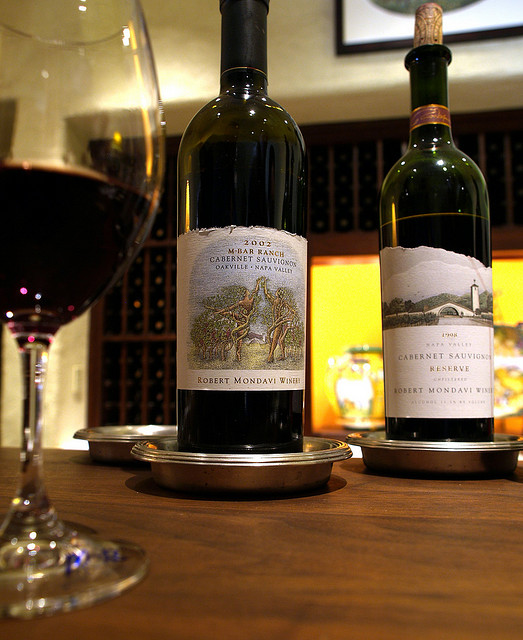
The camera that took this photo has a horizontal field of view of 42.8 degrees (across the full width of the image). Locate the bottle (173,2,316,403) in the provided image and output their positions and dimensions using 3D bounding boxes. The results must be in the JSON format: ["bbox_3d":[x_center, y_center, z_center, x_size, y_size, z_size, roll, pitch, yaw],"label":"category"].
[{"bbox_3d":[0.000,-0.083,0.444,0.107,0.275,0.102,3,-5,0],"label":"bottle"}]

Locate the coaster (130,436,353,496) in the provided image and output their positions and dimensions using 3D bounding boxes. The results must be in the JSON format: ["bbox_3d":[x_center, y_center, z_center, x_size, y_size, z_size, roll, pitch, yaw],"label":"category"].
[{"bbox_3d":[-0.009,0.093,0.410,0.136,0.023,0.123,-3,-11,13],"label":"coaster"}]

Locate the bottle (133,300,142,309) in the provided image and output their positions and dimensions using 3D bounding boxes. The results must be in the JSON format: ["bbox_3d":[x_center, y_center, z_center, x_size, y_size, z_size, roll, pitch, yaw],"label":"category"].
[{"bbox_3d":[-0.477,-0.059,2.565,0.019,0.019,0.032,-26,4,-3],"label":"bottle"}]
